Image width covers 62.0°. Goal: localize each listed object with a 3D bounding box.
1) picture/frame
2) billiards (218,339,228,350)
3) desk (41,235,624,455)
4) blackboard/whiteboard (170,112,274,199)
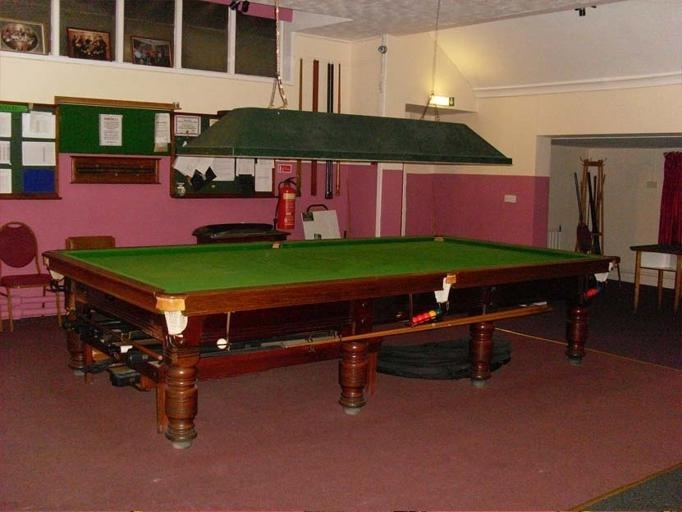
[{"bbox_3d":[-2.830,-2.402,6.425,1.777,0.360,0.081,-4,11,-30],"label":"picture/frame"},{"bbox_3d":[-0.768,0.570,3.689,0.068,0.096,0.071,0,10,-10],"label":"billiards"},{"bbox_3d":[0.014,0.447,5.318,4.775,1.172,2.723,-4,11,-31],"label":"desk"},{"bbox_3d":[-1.561,-1.268,7.130,1.666,1.002,0.261,-3,13,-37],"label":"blackboard/whiteboard"}]
